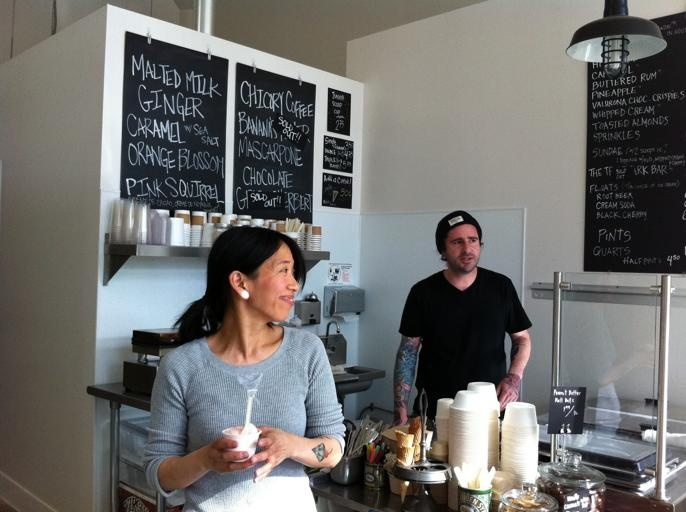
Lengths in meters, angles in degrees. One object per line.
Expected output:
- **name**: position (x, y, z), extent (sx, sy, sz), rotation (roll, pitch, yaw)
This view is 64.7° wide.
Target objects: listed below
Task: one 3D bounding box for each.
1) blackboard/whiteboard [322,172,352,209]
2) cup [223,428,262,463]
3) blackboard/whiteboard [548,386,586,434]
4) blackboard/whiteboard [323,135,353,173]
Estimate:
- **blackboard/whiteboard**: position (-0.047, -0.565, 4.669), extent (0.370, 0.335, 0.008), rotation (12, 13, 41)
- **cup**: position (-0.306, 0.574, 1.668), extent (0.091, 0.073, 0.094), rotation (0, -2, 0)
- **blackboard/whiteboard**: position (0.817, 0.567, 1.978), extent (0.146, 0.177, 0.010), rotation (3, 1, -8)
- **blackboard/whiteboard**: position (-0.052, -0.878, 4.652), extent (0.296, 0.322, 0.016), rotation (14, -9, -41)
